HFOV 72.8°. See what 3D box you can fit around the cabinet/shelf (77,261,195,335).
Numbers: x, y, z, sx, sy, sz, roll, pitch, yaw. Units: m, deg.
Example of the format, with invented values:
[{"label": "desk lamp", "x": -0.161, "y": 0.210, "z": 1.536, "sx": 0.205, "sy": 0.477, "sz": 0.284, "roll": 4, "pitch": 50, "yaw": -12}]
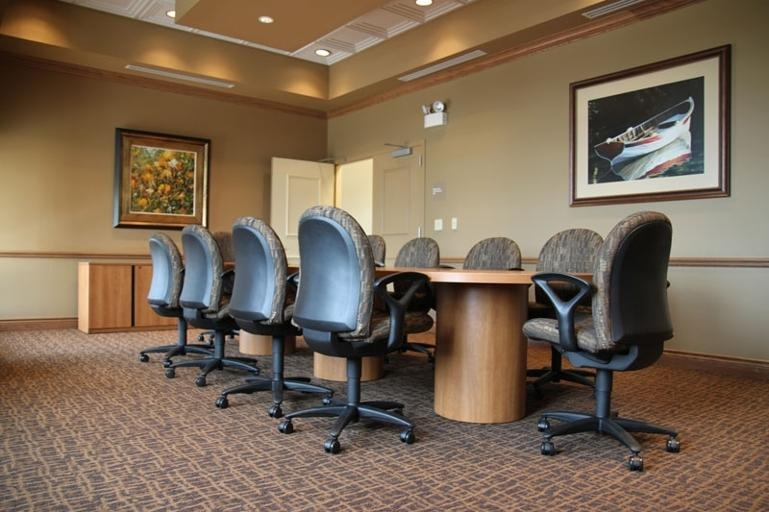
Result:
[{"label": "cabinet/shelf", "x": -3.304, "y": 0.526, "z": 7.180, "sx": 1.900, "sy": 1.204, "sz": 0.961, "roll": 3, "pitch": -7, "yaw": -32}]
